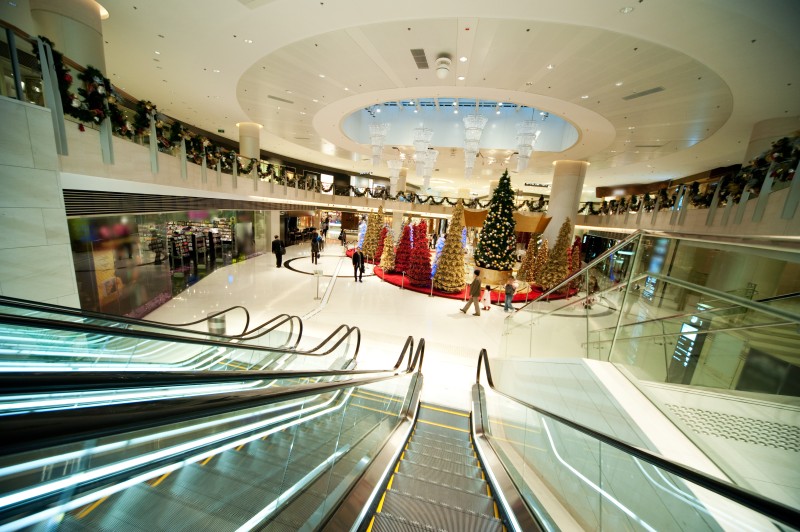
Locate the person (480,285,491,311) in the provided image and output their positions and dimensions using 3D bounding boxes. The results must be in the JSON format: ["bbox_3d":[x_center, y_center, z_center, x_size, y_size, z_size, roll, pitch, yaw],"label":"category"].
[{"bbox_3d":[3.031,0.943,13.964,0.352,0.802,1.019,6,7,12],"label":"person"}]

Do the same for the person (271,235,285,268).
[{"bbox_3d":[-5.476,-0.792,18.175,0.391,1.210,1.985,2,7,-18],"label":"person"}]

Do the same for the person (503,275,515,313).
[{"bbox_3d":[3.588,0.866,13.150,0.274,1.171,0.769,6,7,15],"label":"person"}]

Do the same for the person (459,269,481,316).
[{"bbox_3d":[2.387,0.726,13.066,0.587,1.398,1.682,6,7,12],"label":"person"}]

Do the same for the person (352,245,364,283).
[{"bbox_3d":[-1.677,-0.150,16.410,0.392,1.212,1.312,4,7,-3],"label":"person"}]
